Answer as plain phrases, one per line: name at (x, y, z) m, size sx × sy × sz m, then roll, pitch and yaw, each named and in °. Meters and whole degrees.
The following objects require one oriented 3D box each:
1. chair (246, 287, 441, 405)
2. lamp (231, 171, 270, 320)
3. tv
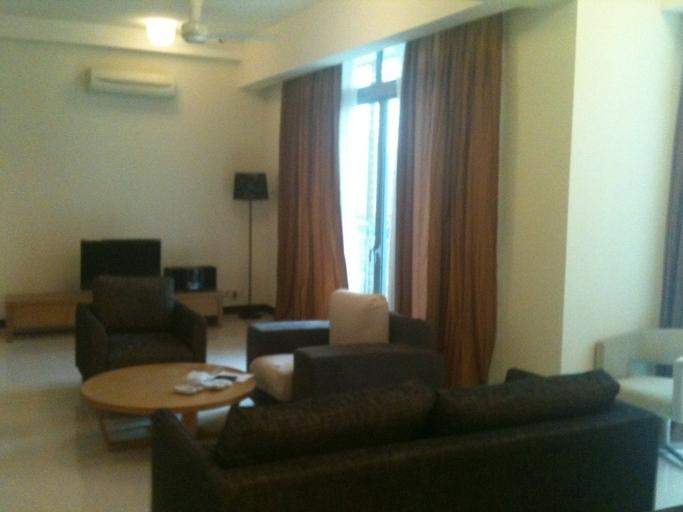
chair at (-0.013, 0.727, 4.637) m, size 0.936 × 0.925 × 1.253 m, roll 5°, pitch -8°, yaw -27°
lamp at (-1.210, -0.158, 8.060) m, size 0.508 × 1.967 × 0.574 m, roll -6°, pitch 7°, yaw -11°
tv at (-2.494, 0.087, 6.605) m, size 0.605 × 0.407 × 0.078 m, roll 0°, pitch 1°, yaw -24°
